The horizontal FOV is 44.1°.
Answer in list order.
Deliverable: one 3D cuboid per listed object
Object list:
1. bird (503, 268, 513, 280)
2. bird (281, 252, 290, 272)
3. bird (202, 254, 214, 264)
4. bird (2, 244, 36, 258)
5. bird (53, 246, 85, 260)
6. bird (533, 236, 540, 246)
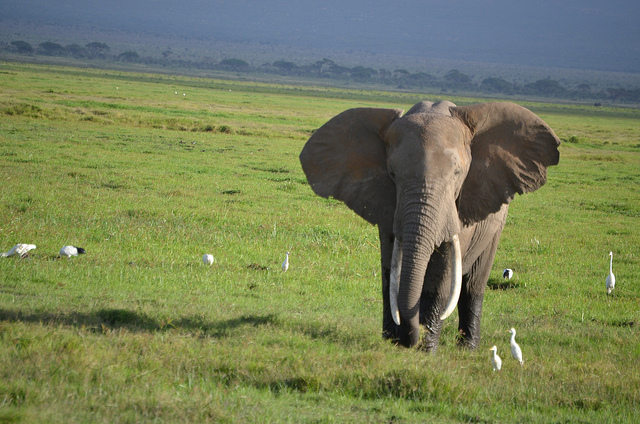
[{"bbox_3d":[5.617,1.845,23.551,0.228,0.320,0.612,-2,-6,10],"label":"bird"},{"bbox_3d":[-1.021,1.437,23.066,0.171,0.439,0.458,7,16,0],"label":"bird"},{"bbox_3d":[-3.265,1.331,22.927,0.263,0.210,0.199,-5,0,13],"label":"bird"},{"bbox_3d":[-8.460,1.050,22.174,0.787,0.285,0.282,-2,-15,13],"label":"bird"},{"bbox_3d":[-7.113,1.133,22.431,1.044,0.407,0.303,-6,0,0],"label":"bird"},{"bbox_3d":[7.404,0.978,26.945,0.220,0.206,0.370,-1,-6,4],"label":"bird"}]
